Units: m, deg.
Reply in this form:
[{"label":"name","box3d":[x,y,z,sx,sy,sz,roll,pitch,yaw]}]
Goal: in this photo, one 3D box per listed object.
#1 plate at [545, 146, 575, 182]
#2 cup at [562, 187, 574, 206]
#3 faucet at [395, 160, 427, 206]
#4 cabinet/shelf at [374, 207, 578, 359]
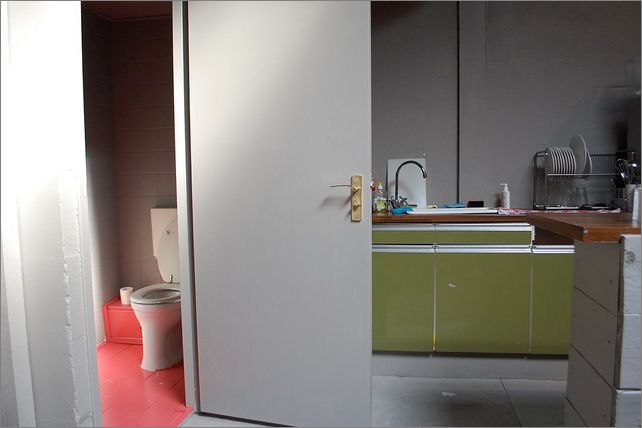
[{"label":"plate","box3d":[1.892,-0.398,4.000,0.224,0.242,0.179,2,6,20]},{"label":"cup","box3d":[1.989,-0.139,4.083,0.094,0.144,0.048,2,6,18]},{"label":"faucet","box3d":[0.741,-0.261,4.153,0.277,0.348,0.194,1,6,9]},{"label":"cabinet/shelf","box3d":[1.042,0.563,3.982,1.395,0.941,0.785,0,-5,6]}]
